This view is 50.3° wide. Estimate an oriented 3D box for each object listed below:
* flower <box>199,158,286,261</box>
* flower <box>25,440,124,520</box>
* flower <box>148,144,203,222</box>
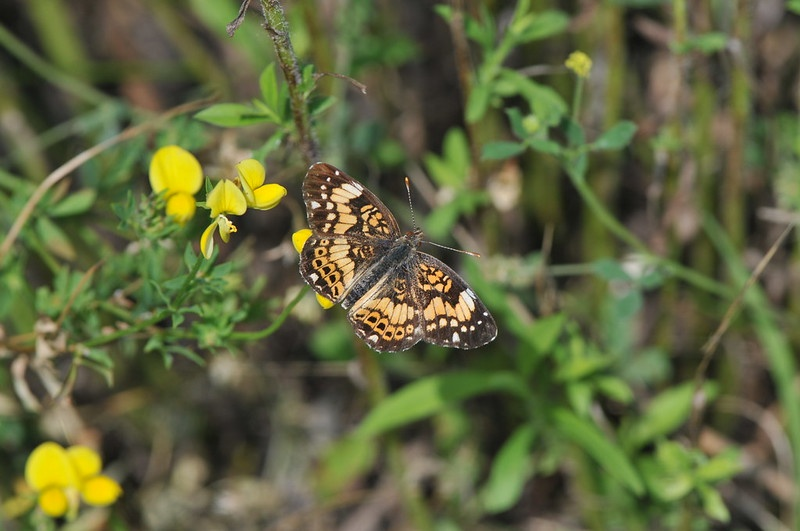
[{"bbox_3d":[-0.458,-0.192,2.466,0.253,0.146,0.293,17,59,-3],"label":"flower"},{"bbox_3d":[-1.033,0.687,2.744,0.247,0.278,0.057,2,28,-21],"label":"flower"},{"bbox_3d":[-0.697,-0.251,2.743,0.190,0.270,0.074,-40,65,6],"label":"flower"}]
